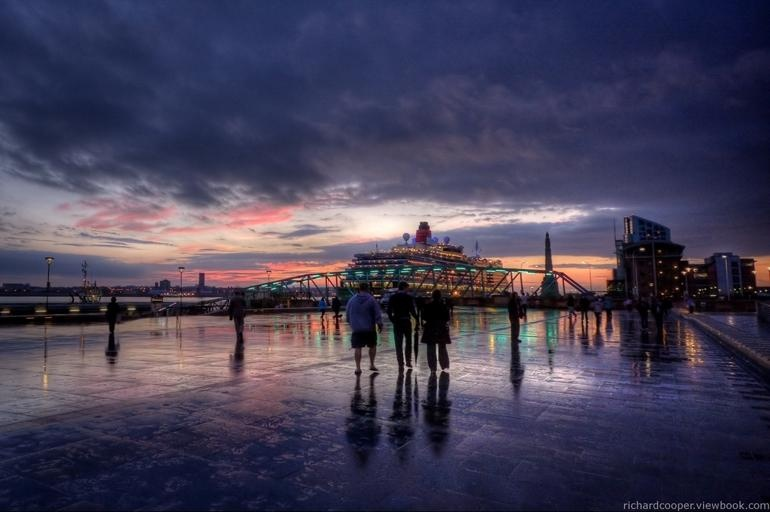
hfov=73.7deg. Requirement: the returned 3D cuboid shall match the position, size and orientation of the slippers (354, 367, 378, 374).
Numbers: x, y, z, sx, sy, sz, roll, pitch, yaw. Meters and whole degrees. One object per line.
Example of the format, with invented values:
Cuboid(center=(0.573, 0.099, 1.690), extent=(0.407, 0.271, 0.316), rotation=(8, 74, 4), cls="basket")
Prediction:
Cuboid(center=(-0.418, 2.641, 11.881), extent=(0.572, 0.185, 0.174), rotation=(-2, -9, -1), cls="slippers")
